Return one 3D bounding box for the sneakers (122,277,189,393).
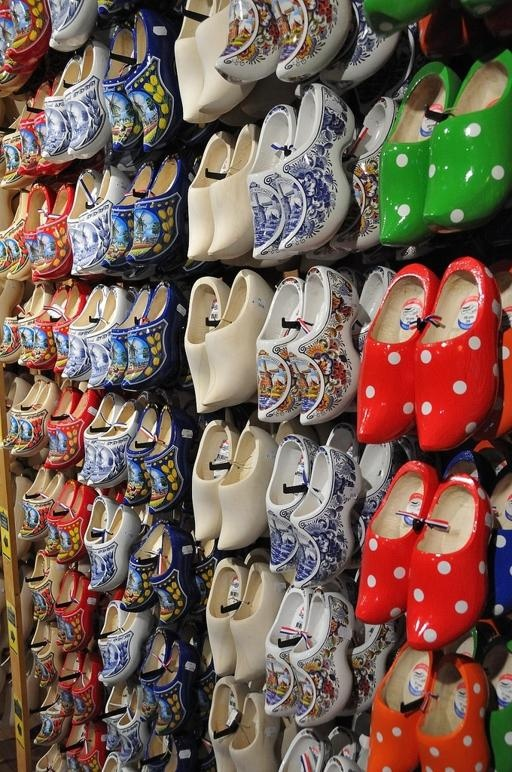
[{"bbox_3d":[-0.268,-0.126,1.676,0.140,0.119,0.314,11,93,39],"label":"sneakers"}]

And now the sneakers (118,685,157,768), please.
[{"bbox_3d":[-0.358,1.020,1.901,0.095,0.104,0.261,4,96,44],"label":"sneakers"}]

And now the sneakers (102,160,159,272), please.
[{"bbox_3d":[-0.340,-0.427,1.722,0.116,0.132,0.341,16,97,38],"label":"sneakers"}]

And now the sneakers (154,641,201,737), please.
[{"bbox_3d":[-0.209,0.804,1.715,0.115,0.098,0.260,14,100,52],"label":"sneakers"}]

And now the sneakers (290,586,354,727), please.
[{"bbox_3d":[0.118,0.485,1.122,0.109,0.121,0.216,-1,59,17],"label":"sneakers"}]

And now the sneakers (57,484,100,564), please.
[{"bbox_3d":[-0.620,0.472,2.215,0.106,0.123,0.316,12,95,36],"label":"sneakers"}]

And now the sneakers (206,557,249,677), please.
[{"bbox_3d":[-0.072,0.531,1.482,0.098,0.112,0.289,6,100,41],"label":"sneakers"}]

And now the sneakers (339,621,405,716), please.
[{"bbox_3d":[0.201,0.484,1.098,0.102,0.060,0.178,5,84,59],"label":"sneakers"}]

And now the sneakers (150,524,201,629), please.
[{"bbox_3d":[-0.205,0.493,1.674,0.127,0.096,0.256,5,93,55],"label":"sneakers"}]

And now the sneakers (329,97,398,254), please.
[{"bbox_3d":[0.165,-0.352,1.047,0.087,0.091,0.246,-126,33,-63],"label":"sneakers"}]

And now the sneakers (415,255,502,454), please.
[{"bbox_3d":[0.269,-0.028,0.788,0.105,0.079,0.253,15,101,55],"label":"sneakers"}]

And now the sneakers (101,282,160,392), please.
[{"bbox_3d":[-0.349,-0.116,1.779,0.109,0.123,0.348,12,93,45],"label":"sneakers"}]

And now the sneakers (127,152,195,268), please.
[{"bbox_3d":[-0.231,-0.421,1.611,0.147,0.210,0.281,-2,58,16],"label":"sneakers"}]

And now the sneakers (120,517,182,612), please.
[{"bbox_3d":[-0.308,0.517,1.732,0.134,0.114,0.295,29,108,48],"label":"sneakers"}]

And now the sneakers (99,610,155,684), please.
[{"bbox_3d":[-0.390,0.773,1.911,0.122,0.092,0.246,23,107,49],"label":"sneakers"}]

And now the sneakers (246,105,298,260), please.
[{"bbox_3d":[0.035,-0.356,1.130,0.090,0.111,0.289,7,105,42],"label":"sneakers"}]

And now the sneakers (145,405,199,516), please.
[{"bbox_3d":[-0.239,0.196,1.703,0.133,0.108,0.290,5,86,44],"label":"sneakers"}]

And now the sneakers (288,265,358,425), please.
[{"bbox_3d":[0.114,-0.072,1.072,0.115,0.137,0.234,-2,58,16],"label":"sneakers"}]

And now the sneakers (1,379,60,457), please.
[{"bbox_3d":[-0.879,0.128,2.446,0.185,0.141,0.374,15,85,52],"label":"sneakers"}]
